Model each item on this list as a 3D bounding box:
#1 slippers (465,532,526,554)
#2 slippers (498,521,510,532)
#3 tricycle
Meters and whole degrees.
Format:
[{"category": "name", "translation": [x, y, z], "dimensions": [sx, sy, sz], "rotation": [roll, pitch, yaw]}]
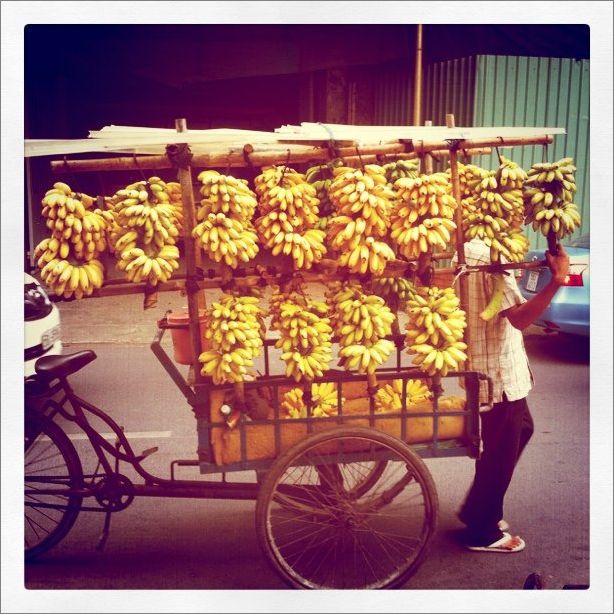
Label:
[{"category": "slippers", "translation": [1.168, 1.441, 4.158], "dimensions": [0.309, 0.081, 0.131], "rotation": [-2, 6, 0]}, {"category": "slippers", "translation": [1.263, 1.406, 4.352], "dimensions": [0.086, 0.018, 0.078], "rotation": [0, 12, -5]}, {"category": "tricycle", "translation": [-0.274, 0.863, 4.191], "dimensions": [2.959, 1.310, 1.350], "rotation": [1, 3, -1]}]
